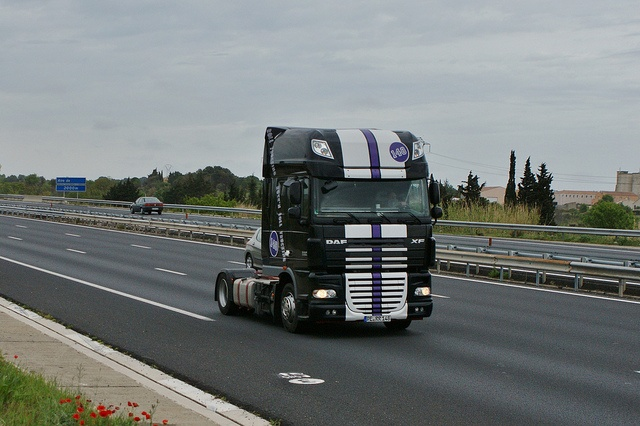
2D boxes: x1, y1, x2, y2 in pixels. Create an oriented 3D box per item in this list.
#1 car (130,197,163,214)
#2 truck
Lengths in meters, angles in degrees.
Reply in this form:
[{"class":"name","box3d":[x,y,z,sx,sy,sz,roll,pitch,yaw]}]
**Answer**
[{"class":"car","box3d":[-17.877,-0.732,65.789,3.427,1.789,2.057,2,1,33]},{"class":"truck","box3d":[-0.078,0.456,16.702,3.803,4.688,7.108,1,-4,-21]}]
